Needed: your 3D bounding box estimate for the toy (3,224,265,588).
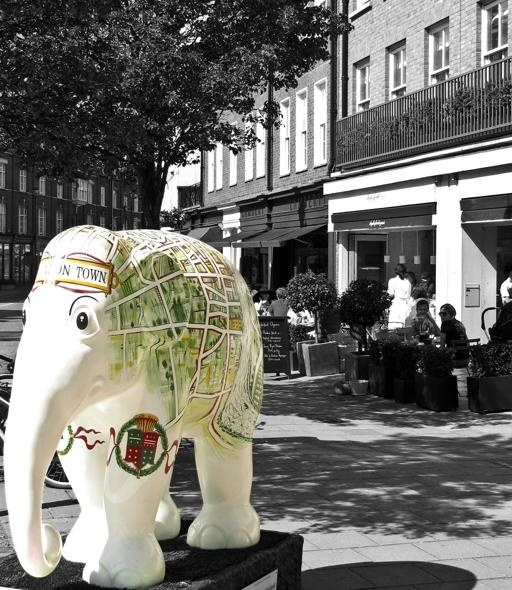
[{"bbox_3d":[-0.409,0.375,2.246,0.444,1.236,1.270,0,-1,20],"label":"toy"}]
